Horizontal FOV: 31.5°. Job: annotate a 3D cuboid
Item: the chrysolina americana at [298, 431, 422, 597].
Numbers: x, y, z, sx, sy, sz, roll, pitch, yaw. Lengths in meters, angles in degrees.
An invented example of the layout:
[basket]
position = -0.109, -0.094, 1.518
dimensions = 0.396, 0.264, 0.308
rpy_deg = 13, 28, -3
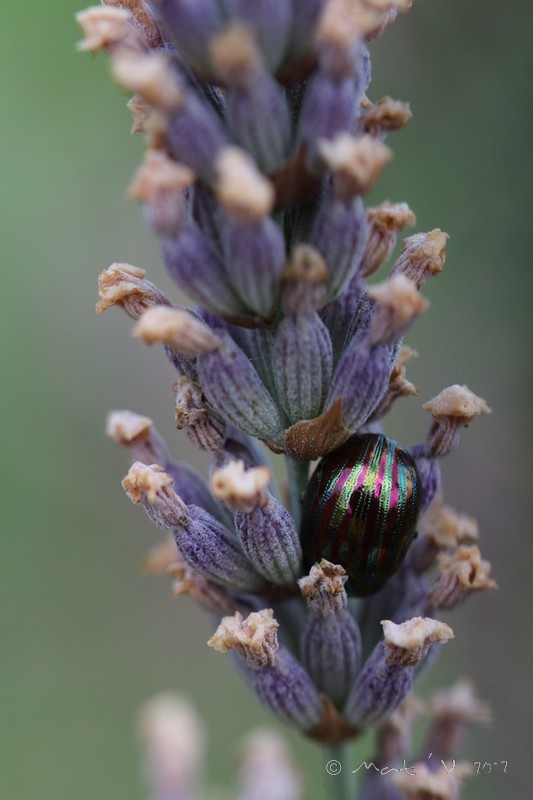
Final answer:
[chrysolina americana]
position = 0.132, 0.156, 1.354
dimensions = 0.180, 0.199, 0.115
rpy_deg = 22, -1, 3
